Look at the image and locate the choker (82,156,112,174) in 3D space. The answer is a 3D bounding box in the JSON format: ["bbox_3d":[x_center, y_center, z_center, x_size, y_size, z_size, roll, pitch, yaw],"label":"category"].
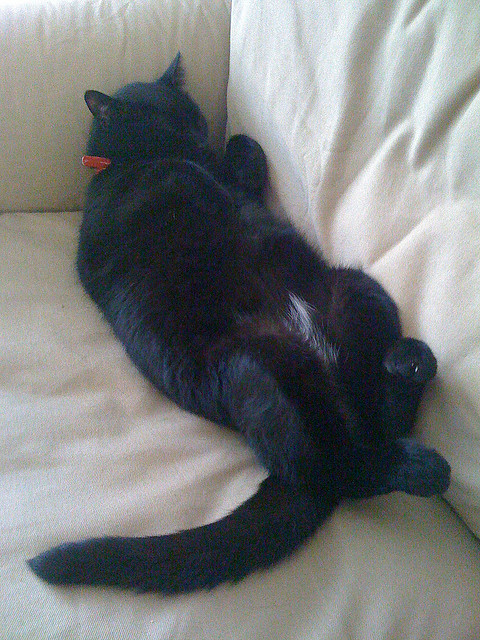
[{"bbox_3d":[-0.228,-0.258,1.268,0.034,0.027,0.009,14,17,15],"label":"choker"}]

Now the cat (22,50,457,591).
[{"bbox_3d":[-0.077,-0.086,1.286,0.593,0.426,0.931,-10,35,-26],"label":"cat"}]
